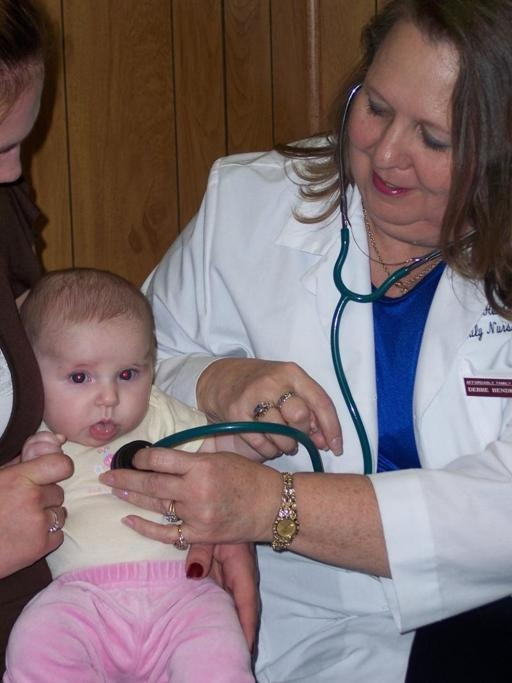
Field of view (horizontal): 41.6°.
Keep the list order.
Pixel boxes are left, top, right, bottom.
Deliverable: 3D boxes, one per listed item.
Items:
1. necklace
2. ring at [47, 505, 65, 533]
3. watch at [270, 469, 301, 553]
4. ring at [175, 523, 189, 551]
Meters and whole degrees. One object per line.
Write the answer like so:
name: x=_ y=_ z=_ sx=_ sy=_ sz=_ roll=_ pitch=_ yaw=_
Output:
necklace: x=0.304 y=-0.190 z=1.416 sx=0.171 sy=0.206 sz=0.088 roll=12 pitch=14 yaw=8
ring: x=-0.301 y=0.271 z=1.022 sx=0.012 sy=0.030 sz=0.025 roll=6 pitch=-12 yaw=-12
watch: x=0.053 y=0.287 z=1.089 sx=0.046 sy=0.092 sz=0.083 roll=-1 pitch=13 yaw=10
ring: x=-0.121 y=0.315 z=1.094 sx=0.026 sy=0.041 sz=0.017 roll=-7 pitch=-4 yaw=33
